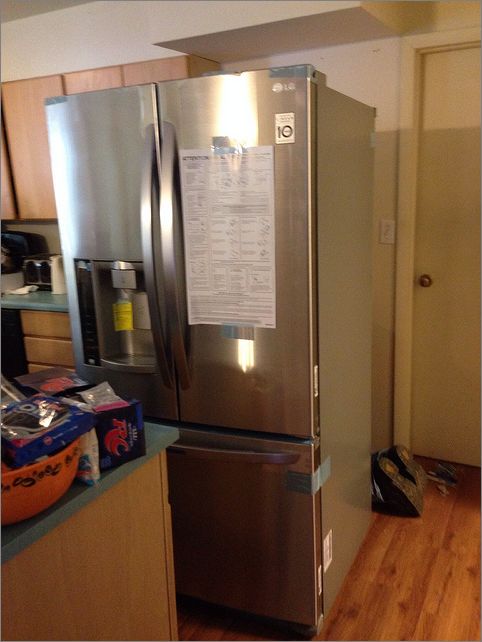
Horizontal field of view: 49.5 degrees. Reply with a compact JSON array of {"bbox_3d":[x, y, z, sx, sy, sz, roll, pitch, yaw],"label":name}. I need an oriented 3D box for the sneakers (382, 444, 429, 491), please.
[{"bbox_3d":[0.761,0.658,2.409,0.106,0.270,0.102,-22,-17,-20],"label":"sneakers"}]

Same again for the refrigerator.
[{"bbox_3d":[-0.073,0.150,1.631,0.969,1.704,0.507,-2,9,9],"label":"refrigerator"}]

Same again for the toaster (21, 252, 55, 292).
[{"bbox_3d":[-1.126,-0.267,2.887,0.223,0.252,0.182,3,3,28],"label":"toaster"}]

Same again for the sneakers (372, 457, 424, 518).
[{"bbox_3d":[0.664,0.741,2.303,0.159,0.292,0.106,-34,6,-36],"label":"sneakers"}]
